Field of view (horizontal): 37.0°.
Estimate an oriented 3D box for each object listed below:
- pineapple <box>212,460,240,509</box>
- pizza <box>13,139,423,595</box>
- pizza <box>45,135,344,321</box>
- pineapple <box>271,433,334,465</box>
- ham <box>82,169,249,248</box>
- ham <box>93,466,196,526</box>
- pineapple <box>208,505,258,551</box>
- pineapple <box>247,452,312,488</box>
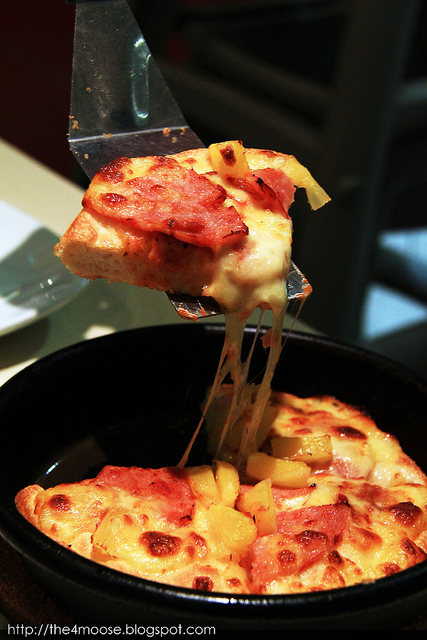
[{"bbox_3d":[0.030,0.291,1.154,0.039,0.026,0.106,-14,22,-6],"label":"pineapple"},{"bbox_3d":[0.010,0.063,1.246,0.855,0.737,0.687,-9,15,-26],"label":"pizza"},{"bbox_3d":[-0.002,-0.192,1.130,0.338,0.097,0.382,-35,63,-14],"label":"pizza"},{"bbox_3d":[0.174,0.256,1.250,0.105,0.031,0.077,-7,14,-37],"label":"pineapple"},{"bbox_3d":[-0.075,-0.183,1.061,0.218,0.106,0.231,-8,24,-34],"label":"ham"},{"bbox_3d":[-0.108,0.300,1.132,0.101,0.027,0.103,21,18,34],"label":"ham"},{"bbox_3d":[0.030,0.336,1.019,0.073,0.034,0.089,-14,18,-40],"label":"pineapple"},{"bbox_3d":[0.134,0.269,1.212,0.121,0.046,0.073,14,21,32],"label":"pineapple"}]
